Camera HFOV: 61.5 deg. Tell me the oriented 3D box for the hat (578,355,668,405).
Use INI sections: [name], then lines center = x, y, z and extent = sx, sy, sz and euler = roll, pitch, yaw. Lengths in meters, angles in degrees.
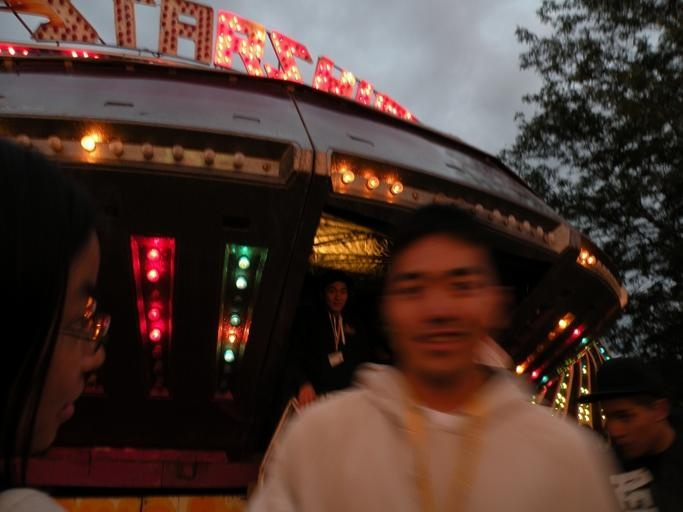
[hat]
center = 2.183, 0.940, 4.443
extent = 0.437, 0.266, 0.352
euler = -2, -25, 11
